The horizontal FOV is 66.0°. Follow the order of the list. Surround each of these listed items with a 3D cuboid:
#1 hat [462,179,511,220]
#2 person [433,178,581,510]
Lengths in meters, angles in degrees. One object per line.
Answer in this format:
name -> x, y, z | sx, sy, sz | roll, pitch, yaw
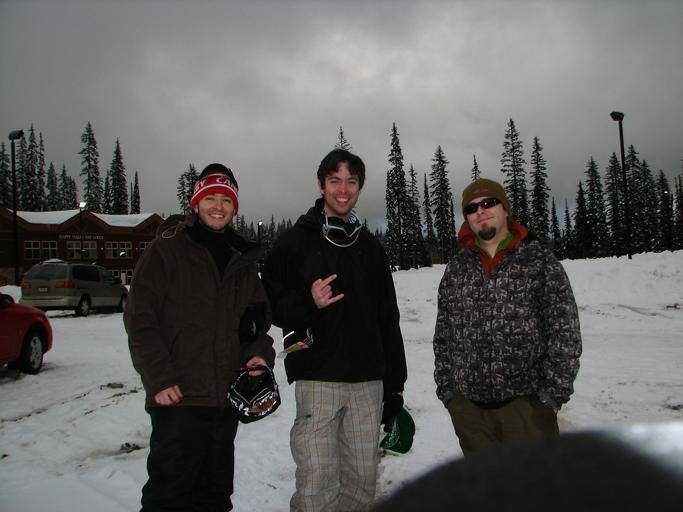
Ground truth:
hat -> 1.269, -0.476, 4.593 | 0.343, 0.296, 0.358 | -8, -36, 26
person -> 1.364, 0.441, 4.482 | 1.210, 1.990, 0.790 | -3, 1, 20
